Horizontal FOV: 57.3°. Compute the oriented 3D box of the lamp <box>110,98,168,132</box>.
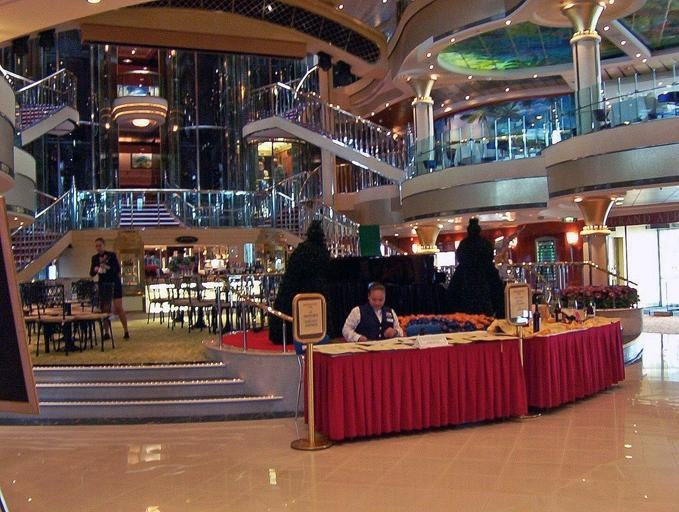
[{"bbox_3d":[-7.563,-5.451,23.591,1.822,1.021,1.591,-6,9,-32],"label":"lamp"}]

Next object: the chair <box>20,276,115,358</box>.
[{"bbox_3d":[-4.758,1.049,10.893,1.338,1.330,2.679,-5,8,-28],"label":"chair"}]

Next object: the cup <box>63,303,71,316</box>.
[{"bbox_3d":[-4.312,0.853,9.919,0.114,0.206,0.220,-4,8,-25],"label":"cup"}]
